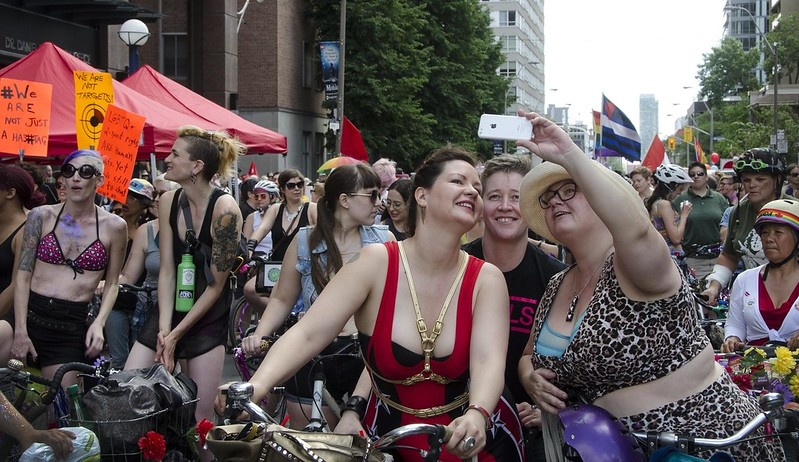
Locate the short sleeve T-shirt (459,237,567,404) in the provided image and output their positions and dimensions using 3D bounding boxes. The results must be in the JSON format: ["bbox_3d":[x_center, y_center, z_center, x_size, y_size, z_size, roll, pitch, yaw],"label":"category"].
[{"bbox_3d":[0.907,0.764,6.253,1.177,1.556,0.531,-1,-17,2],"label":"short sleeve T-shirt"}]

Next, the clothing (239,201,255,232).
[{"bbox_3d":[-2.716,-0.251,13.932,0.234,0.479,0.455,4,19,7],"label":"clothing"}]

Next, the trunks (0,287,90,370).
[{"bbox_3d":[-3.608,1.049,8.214,0.615,1.014,0.497,1,19,-10],"label":"trunks"}]

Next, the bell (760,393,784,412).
[{"bbox_3d":[2.831,1.299,5.968,0.138,0.110,0.134,-3,-1,-43],"label":"bell"}]

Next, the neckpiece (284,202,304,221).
[{"bbox_3d":[-1.803,-0.296,13.017,0.328,0.213,0.434,-7,1,2],"label":"neckpiece"}]

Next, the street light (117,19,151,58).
[{"bbox_3d":[-6.421,-4.694,18.732,0.753,0.849,0.793,-1,3,-2],"label":"street light"}]

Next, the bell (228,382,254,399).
[{"bbox_3d":[-1.063,1.065,5.223,0.109,0.062,0.117,3,-3,-19],"label":"bell"}]

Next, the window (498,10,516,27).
[{"bbox_3d":[15.194,-30.518,111.638,2.370,2.677,0.155,1,-6,2],"label":"window"}]

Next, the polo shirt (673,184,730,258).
[{"bbox_3d":[5.187,-0.130,13.495,1.139,1.305,0.665,0,-3,5],"label":"polo shirt"}]

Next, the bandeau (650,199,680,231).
[{"bbox_3d":[4.314,-0.261,12.772,0.305,0.603,0.433,-22,4,-3],"label":"bandeau"}]

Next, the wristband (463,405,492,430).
[{"bbox_3d":[0.546,1.320,5.617,0.164,0.074,0.190,22,25,-49],"label":"wristband"}]

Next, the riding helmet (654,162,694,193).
[{"bbox_3d":[5.054,-0.896,14.521,0.654,0.443,0.493,18,21,5],"label":"riding helmet"}]
